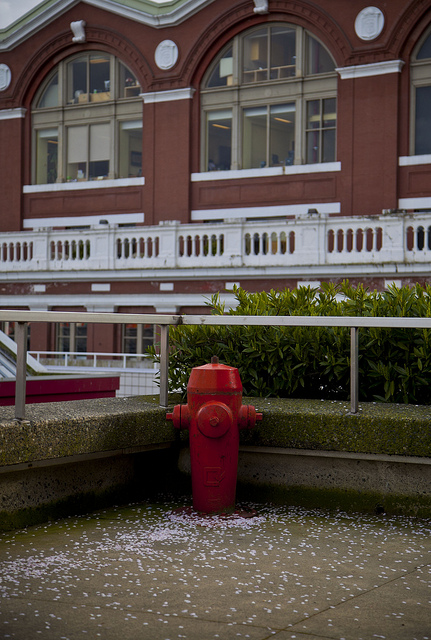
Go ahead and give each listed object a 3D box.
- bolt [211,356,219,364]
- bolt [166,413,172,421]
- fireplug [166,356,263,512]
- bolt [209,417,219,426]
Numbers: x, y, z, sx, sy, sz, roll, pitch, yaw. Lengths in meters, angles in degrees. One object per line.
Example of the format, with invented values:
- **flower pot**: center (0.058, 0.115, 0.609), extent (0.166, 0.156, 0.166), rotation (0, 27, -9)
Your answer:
- **bolt**: center (-0.002, 0.252, 6.226), extent (0.051, 0.062, 0.053), rotation (0, -3, -5)
- **bolt**: center (-0.298, 0.623, 6.272), extent (0.037, 0.052, 0.070), rotation (1, -1, -15)
- **fireplug**: center (0.001, 0.723, 6.127), extent (0.584, 0.959, 0.280), rotation (0, 6, -1)
- **bolt**: center (-0.007, 0.626, 5.987), extent (0.054, 0.051, 0.020), rotation (0, 6, -1)
